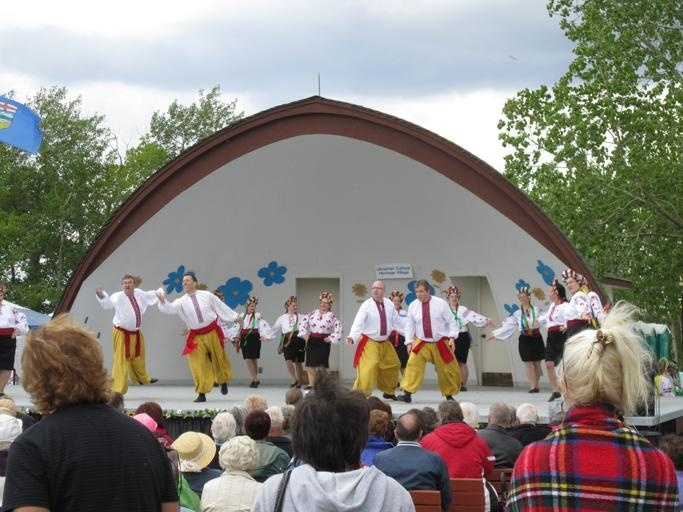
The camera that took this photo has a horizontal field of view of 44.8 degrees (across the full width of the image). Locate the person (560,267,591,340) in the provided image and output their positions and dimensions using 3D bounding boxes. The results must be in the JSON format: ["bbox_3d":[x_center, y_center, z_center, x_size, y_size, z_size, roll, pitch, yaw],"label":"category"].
[{"bbox_3d":[2.916,0.608,10.293,0.204,0.520,0.825,2,36,11],"label":"person"}]

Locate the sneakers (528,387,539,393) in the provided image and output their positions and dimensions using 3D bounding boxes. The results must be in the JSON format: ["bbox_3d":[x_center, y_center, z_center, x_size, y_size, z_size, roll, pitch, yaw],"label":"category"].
[{"bbox_3d":[3.004,2.102,12.864,0.137,0.064,0.081,0,-5,8],"label":"sneakers"}]

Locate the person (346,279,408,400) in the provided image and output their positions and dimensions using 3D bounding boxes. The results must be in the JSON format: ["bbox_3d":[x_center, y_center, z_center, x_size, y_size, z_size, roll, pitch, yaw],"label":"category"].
[{"bbox_3d":[0.520,1.209,11.353,0.912,1.707,0.507,-2,10,-11],"label":"person"}]

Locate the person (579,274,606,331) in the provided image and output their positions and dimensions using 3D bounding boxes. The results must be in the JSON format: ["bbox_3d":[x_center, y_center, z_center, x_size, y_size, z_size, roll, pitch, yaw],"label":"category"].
[{"bbox_3d":[3.091,0.585,10.231,0.229,0.751,0.224,-10,-44,11],"label":"person"}]

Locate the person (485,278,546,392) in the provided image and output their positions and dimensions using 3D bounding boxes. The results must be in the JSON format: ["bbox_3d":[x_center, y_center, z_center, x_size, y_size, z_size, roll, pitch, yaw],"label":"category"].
[{"bbox_3d":[3.006,1.354,14.092,1.290,2.096,0.624,-19,-34,36],"label":"person"}]

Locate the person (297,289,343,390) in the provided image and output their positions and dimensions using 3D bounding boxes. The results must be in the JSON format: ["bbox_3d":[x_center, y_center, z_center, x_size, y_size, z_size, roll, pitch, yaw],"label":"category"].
[{"bbox_3d":[-0.342,1.379,13.083,0.645,1.532,0.503,7,12,10],"label":"person"}]

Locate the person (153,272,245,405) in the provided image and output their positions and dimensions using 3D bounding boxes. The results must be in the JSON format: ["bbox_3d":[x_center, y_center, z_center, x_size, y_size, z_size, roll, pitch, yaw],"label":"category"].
[{"bbox_3d":[-2.356,1.354,13.406,0.993,2.076,1.328,-23,-29,20],"label":"person"}]

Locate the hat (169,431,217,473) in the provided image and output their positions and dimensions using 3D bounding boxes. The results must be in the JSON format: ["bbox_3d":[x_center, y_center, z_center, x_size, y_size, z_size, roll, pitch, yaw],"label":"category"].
[{"bbox_3d":[-1.118,1.402,6.040,0.343,0.118,0.401,-7,30,-2],"label":"hat"}]

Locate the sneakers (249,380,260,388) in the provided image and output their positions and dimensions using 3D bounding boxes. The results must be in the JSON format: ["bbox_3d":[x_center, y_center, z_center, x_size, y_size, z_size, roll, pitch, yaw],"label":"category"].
[{"bbox_3d":[-1.557,2.294,14.720,0.118,0.097,0.223,1,0,-8],"label":"sneakers"}]
